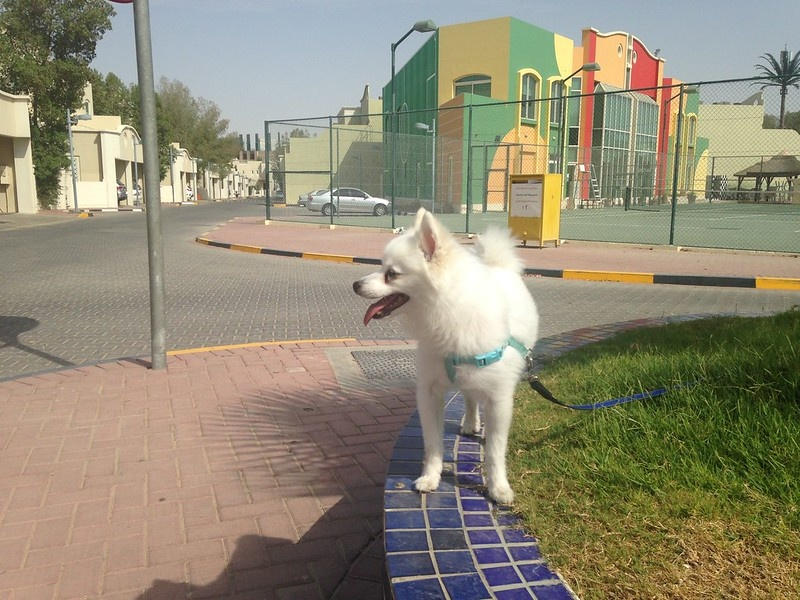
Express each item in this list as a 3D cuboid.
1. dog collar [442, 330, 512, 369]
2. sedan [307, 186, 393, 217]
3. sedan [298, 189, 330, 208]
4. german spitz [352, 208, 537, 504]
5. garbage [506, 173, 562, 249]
[{"bbox_3d":[0.451,0.251,3.484,0.340,0.205,0.211,6,9,14],"label":"dog collar"},{"bbox_3d":[-2.579,-5.055,31.867,3.884,1.409,5.464,-4,11,-14],"label":"sedan"},{"bbox_3d":[-4.594,-5.772,34.690,1.990,0.674,0.855,-18,22,-23],"label":"sedan"},{"bbox_3d":[0.456,0.294,3.832,0.687,1.652,1.761,2,6,31],"label":"german spitz"},{"bbox_3d":[3.505,-2.371,16.162,1.373,1.695,1.377,1,11,10],"label":"garbage"}]
